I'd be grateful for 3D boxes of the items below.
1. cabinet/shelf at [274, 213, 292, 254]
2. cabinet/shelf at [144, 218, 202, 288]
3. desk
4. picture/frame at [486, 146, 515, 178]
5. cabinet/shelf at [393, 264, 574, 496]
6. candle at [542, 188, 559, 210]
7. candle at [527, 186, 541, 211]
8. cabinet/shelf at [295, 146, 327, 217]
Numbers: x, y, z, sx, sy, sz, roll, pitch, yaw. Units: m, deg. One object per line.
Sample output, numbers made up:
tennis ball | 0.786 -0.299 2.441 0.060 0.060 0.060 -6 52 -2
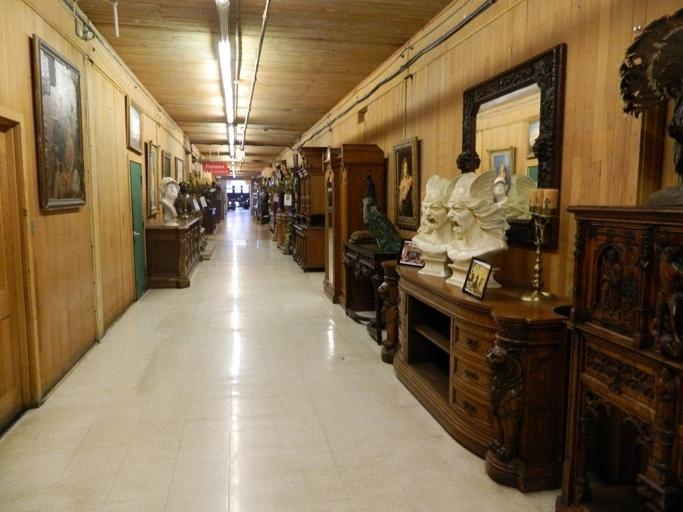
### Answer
cabinet/shelf | -1.588 -0.641 13.598 0.402 0.977 1.107 -1 5 -7
cabinet/shelf | -3.141 -0.129 9.337 0.703 1.085 1.748 -1 12 -8
desk | 0.364 0.421 5.955 0.384 0.751 1.062 1 6 -9
picture/frame | 1.379 -0.811 4.234 0.046 0.383 0.314 -1 3 -22
cabinet/shelf | 1.092 0.783 4.059 0.687 1.156 1.907 -3 12 -16
candle | 1.475 -0.407 3.476 0.120 0.150 0.124 1 -2 -1
candle | 1.419 -0.425 3.594 0.084 0.138 0.186 4 12 22
cabinet/shelf | -0.639 -1.600 10.744 0.630 1.742 1.699 -1 7 -6
